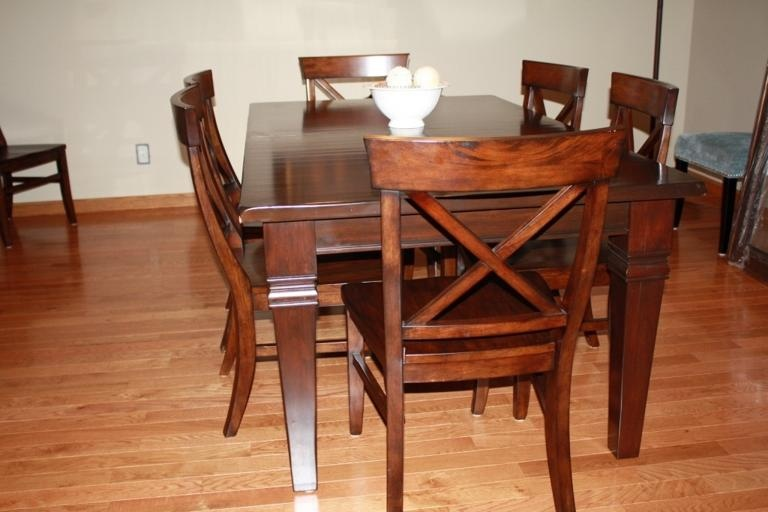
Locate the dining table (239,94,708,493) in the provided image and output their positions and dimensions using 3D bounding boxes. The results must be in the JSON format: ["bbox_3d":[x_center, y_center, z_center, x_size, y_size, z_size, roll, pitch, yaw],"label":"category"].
[{"bbox_3d":[0.125,-0.085,2.828,1.495,0.875,1.971,-4,17,-10],"label":"dining table"}]

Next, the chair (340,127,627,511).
[{"bbox_3d":[0.281,0.210,2.160,0.837,1.268,0.537,-4,23,-4],"label":"chair"}]

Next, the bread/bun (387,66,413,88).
[{"bbox_3d":[0.063,-0.731,2.683,0.117,0.074,0.102,2,10,8],"label":"bread/bun"}]
